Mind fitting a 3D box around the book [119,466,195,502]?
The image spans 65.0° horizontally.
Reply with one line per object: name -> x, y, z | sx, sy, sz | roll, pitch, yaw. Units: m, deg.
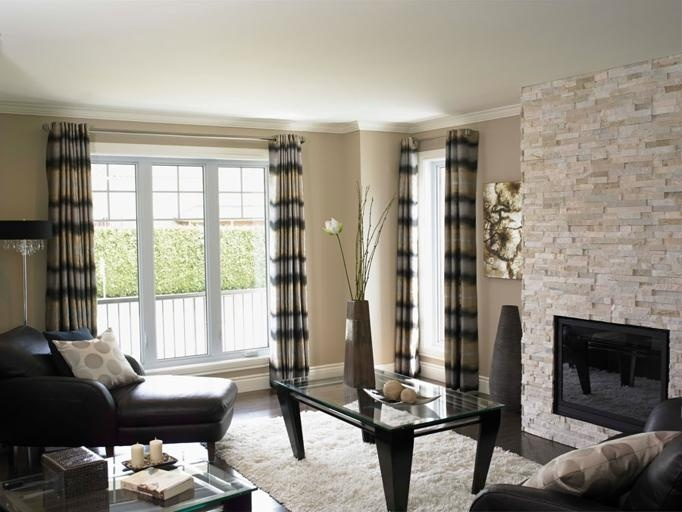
book -> -1.017, 1.281, 3.023 | 0.217, 0.049, 0.154 | 3, 4, 38
